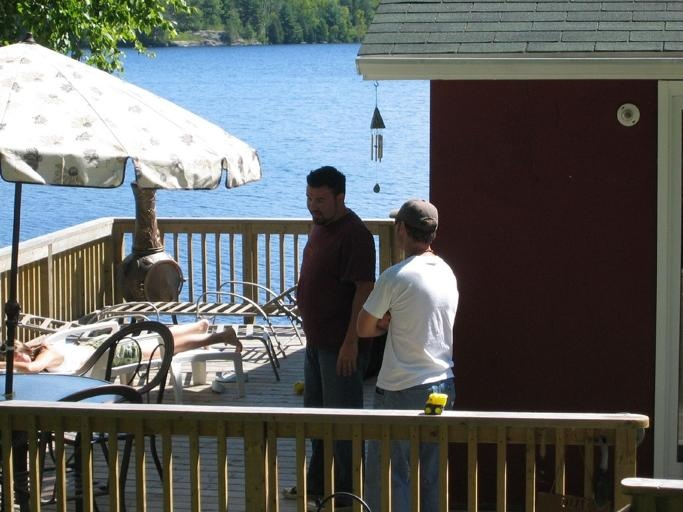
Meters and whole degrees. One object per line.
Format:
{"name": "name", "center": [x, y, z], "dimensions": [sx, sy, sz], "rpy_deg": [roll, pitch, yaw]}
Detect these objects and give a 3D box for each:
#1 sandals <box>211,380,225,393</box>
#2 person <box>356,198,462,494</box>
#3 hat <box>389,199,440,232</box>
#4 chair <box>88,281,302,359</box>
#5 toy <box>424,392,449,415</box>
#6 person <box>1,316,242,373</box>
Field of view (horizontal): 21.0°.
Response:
{"name": "sandals", "center": [-1.038, 1.103, 15.715], "dimensions": [0.110, 0.103, 0.088], "rpy_deg": [-2, 5, -9]}
{"name": "person", "center": [0.471, 0.342, 13.185], "dimensions": [0.700, 1.475, 0.262], "rpy_deg": [-1, 4, 3]}
{"name": "hat", "center": [0.530, -0.311, 13.202], "dimensions": [0.200, 0.148, 0.276], "rpy_deg": [-4, 29, -41]}
{"name": "chair", "center": [-1.230, 0.479, 17.037], "dimensions": [2.031, 0.823, 0.820], "rpy_deg": [4, 3, 5]}
{"name": "toy", "center": [0.648, 1.024, 12.768], "dimensions": [0.143, 0.135, 0.120], "rpy_deg": [2, -1, 9]}
{"name": "person", "center": [-1.751, 0.762, 14.935], "dimensions": [1.809, 0.311, 0.640], "rpy_deg": [0, 11, -14]}
